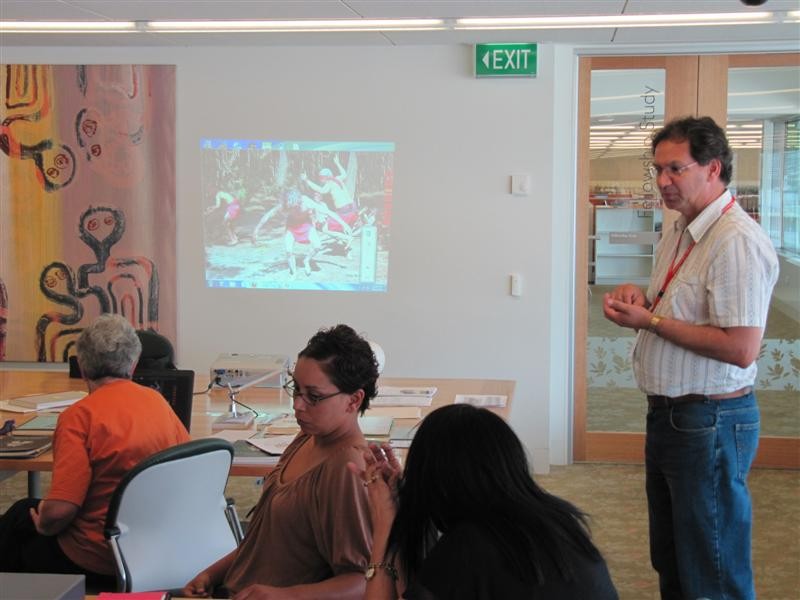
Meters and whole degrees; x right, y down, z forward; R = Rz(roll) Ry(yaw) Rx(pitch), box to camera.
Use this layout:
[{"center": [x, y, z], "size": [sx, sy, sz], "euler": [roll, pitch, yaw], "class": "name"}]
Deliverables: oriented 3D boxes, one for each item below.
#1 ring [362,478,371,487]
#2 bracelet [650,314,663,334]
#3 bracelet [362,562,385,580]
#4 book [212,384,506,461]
[{"center": [-0.098, 0.522, 1.946], "size": [0.022, 0.027, 0.010], "euler": [3, -15, 10], "class": "ring"}, {"center": [0.994, 0.092, 2.640], "size": [0.047, 0.106, 0.118], "euler": [3, -1, 13], "class": "bracelet"}, {"center": [-0.070, 0.731, 1.836], "size": [0.045, 0.017, 0.044], "euler": [-6, 22, 22], "class": "bracelet"}, {"center": [0.142, 0.579, 3.741], "size": [0.798, 0.179, 0.535], "euler": [-2, 6, 4], "class": "book"}]
